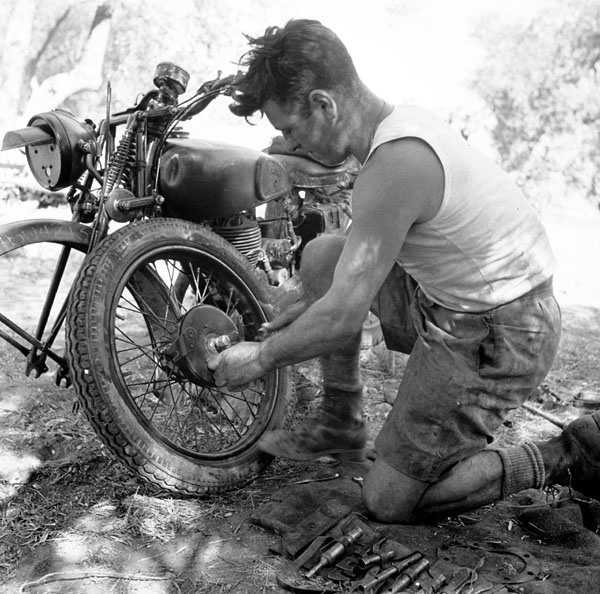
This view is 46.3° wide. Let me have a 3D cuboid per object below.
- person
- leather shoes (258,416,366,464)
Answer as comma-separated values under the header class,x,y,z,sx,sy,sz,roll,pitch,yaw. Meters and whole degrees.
class,x,y,z,sx,sy,sz,roll,pitch,yaw
person,0.362,-0.044,2.255,1.046,1.574,0.887,13,16,40
leather shoes,0.067,0.514,2.649,0.426,0.227,0.162,9,1,-20
